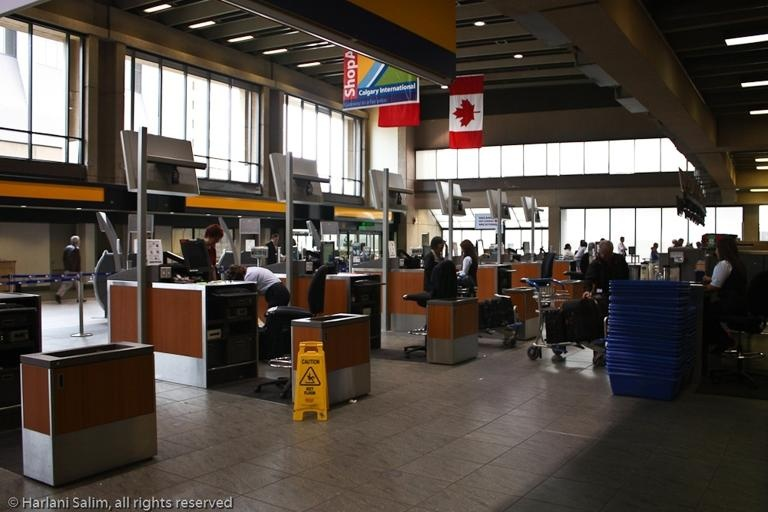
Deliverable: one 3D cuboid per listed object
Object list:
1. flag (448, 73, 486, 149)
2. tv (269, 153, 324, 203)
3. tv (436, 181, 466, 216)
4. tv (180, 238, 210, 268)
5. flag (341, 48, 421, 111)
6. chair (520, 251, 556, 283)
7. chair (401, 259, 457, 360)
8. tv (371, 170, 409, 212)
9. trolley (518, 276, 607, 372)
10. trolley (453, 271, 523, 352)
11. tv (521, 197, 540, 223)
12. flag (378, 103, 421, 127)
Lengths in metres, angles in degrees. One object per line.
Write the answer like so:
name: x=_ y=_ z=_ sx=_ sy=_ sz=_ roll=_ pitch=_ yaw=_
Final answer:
flag: x=2.428 y=-4.298 z=17.800 sx=0.970 sy=2.075 sz=0.558 roll=2 pitch=8 yaw=19
tv: x=-1.606 y=-1.425 z=11.042 sx=1.028 sy=0.909 sz=0.394 roll=-7 pitch=10 yaw=-41
tv: x=1.589 y=-1.367 z=14.219 sx=0.653 sy=0.823 sz=1.294 roll=2 pitch=8 yaw=14
tv: x=-3.104 y=-0.046 z=9.782 sx=0.421 sy=0.472 sz=0.109 roll=-4 pitch=-3 yaw=-42
flag: x=-0.168 y=-4.058 z=13.595 sx=2.214 sy=1.304 sz=0.560 roll=7 pitch=10 yaw=40
chair: x=3.774 y=0.303 z=14.761 sx=0.799 sy=0.898 sz=0.792 roll=3 pitch=-2 yaw=-13
chair: x=0.786 y=0.800 z=10.735 sx=0.917 sy=1.511 sz=0.890 roll=5 pitch=-1 yaw=-34
tv: x=-0.127 y=-1.465 z=13.643 sx=0.957 sy=0.900 sz=0.223 roll=1 pitch=1 yaw=-38
trolley: x=3.379 y=1.019 z=10.564 sx=1.515 sy=1.409 sz=1.149 roll=-12 pitch=-11 yaw=42
trolley: x=2.141 y=1.232 z=11.922 sx=1.374 sy=1.456 sz=1.000 roll=1 pitch=1 yaw=31
tv: x=4.440 y=-1.411 z=18.160 sx=0.495 sy=0.775 sz=1.537 roll=2 pitch=8 yaw=13
flag: x=0.392 y=-3.912 z=16.552 sx=1.196 sy=0.756 sz=0.085 roll=3 pitch=2 yaw=35
